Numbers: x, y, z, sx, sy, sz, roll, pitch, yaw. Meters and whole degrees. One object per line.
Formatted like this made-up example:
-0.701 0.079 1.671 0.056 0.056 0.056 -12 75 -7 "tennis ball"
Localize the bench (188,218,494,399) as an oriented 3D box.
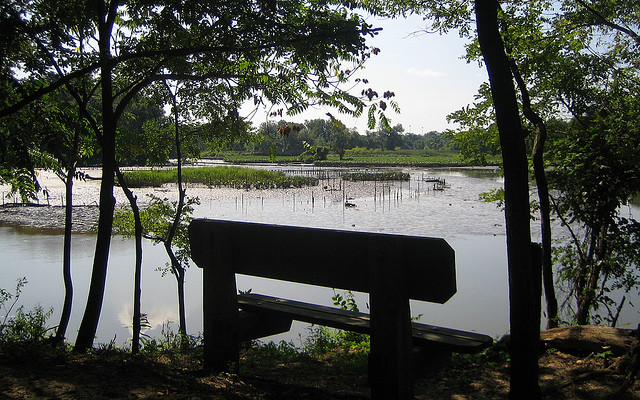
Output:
0.198 1.967 9.210 3.181 1.582 1.282 4 8 32 "bench"
